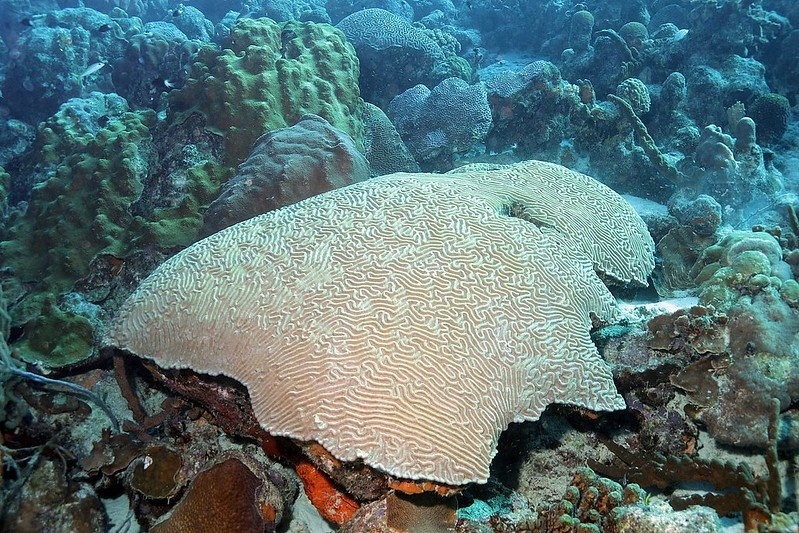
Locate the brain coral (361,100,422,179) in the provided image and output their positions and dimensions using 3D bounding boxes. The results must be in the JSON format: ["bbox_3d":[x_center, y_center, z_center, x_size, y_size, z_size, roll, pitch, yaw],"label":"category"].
[{"bbox_3d":[-0.232,-2.966,16.218,0.949,0.374,1.746,1,69,-47],"label":"brain coral"}]
